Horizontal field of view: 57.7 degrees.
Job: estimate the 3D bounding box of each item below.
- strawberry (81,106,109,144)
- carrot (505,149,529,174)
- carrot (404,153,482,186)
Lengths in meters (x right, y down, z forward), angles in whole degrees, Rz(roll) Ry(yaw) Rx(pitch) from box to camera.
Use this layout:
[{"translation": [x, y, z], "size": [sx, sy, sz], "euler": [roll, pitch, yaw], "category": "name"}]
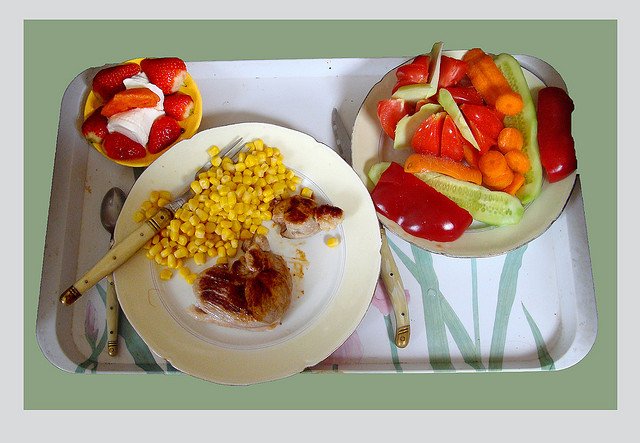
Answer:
[{"translation": [-1.344, -0.570, 3.516], "size": [0.135, 0.100, 0.193], "euler": [28, 81, -2], "category": "strawberry"}, {"translation": [1.142, -0.354, 3.361], "size": [0.111, 0.060, 0.124], "euler": [1, 79, -14], "category": "carrot"}, {"translation": [0.711, -0.335, 3.399], "size": [0.578, 0.113, 0.183], "euler": [14, 79, 48], "category": "carrot"}]
